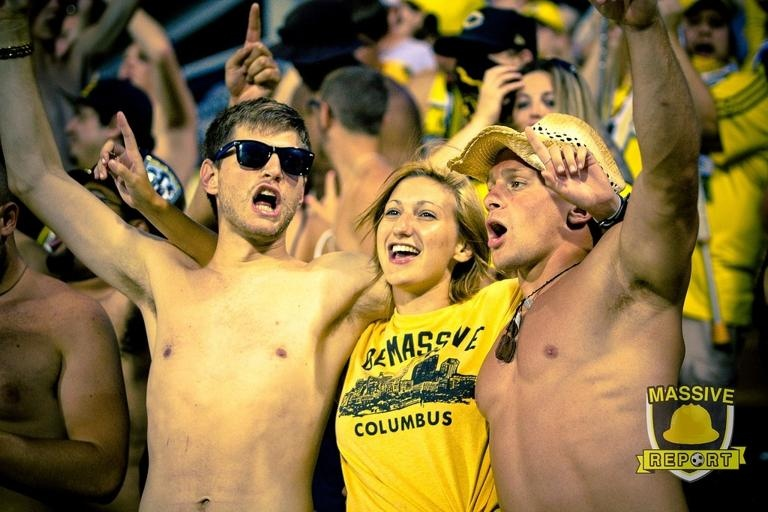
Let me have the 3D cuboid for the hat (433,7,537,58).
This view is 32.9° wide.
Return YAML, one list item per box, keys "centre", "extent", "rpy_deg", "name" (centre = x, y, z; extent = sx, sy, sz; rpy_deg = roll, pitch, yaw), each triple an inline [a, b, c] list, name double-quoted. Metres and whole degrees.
- centre: [0.959, -1.941, 11.384]
  extent: [0.585, 0.305, 0.453]
  rpy_deg: [12, 7, -3]
  name: "hat"

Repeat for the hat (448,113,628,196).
- centre: [1.183, -0.586, 9.273]
  extent: [0.859, 0.381, 0.669]
  rpy_deg: [9, -8, -35]
  name: "hat"
